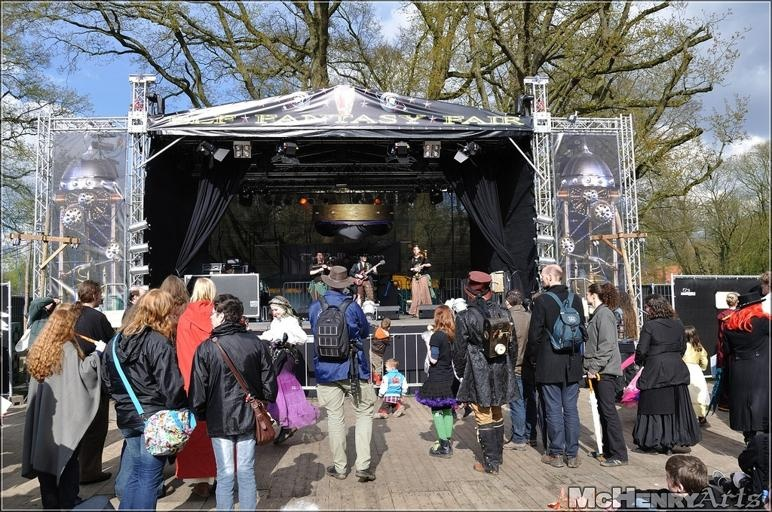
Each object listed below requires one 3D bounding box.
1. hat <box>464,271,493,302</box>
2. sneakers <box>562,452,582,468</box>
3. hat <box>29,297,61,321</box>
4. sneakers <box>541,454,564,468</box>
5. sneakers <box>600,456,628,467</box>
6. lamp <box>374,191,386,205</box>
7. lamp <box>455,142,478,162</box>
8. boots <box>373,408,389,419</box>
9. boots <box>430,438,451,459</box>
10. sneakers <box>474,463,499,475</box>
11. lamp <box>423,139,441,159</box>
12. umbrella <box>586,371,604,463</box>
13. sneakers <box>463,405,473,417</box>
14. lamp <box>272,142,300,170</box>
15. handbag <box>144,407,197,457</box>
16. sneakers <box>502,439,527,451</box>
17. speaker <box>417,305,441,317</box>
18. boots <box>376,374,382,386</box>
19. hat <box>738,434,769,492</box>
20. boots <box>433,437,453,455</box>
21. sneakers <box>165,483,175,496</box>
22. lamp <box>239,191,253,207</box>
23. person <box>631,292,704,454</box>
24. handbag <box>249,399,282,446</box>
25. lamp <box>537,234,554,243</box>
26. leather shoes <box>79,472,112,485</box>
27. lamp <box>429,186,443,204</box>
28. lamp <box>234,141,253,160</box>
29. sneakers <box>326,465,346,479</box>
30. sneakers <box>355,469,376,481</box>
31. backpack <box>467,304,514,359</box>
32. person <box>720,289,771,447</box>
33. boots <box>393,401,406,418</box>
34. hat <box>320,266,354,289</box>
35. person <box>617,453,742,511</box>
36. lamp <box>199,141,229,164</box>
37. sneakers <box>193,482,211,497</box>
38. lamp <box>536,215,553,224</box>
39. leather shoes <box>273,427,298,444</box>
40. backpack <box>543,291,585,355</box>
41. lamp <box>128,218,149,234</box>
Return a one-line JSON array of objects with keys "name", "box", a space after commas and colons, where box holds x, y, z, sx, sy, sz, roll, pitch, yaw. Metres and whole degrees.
[{"name": "hat", "box": [1.438, 0.417, 11.225, 0.375, 0.237, 0.443, 8, 24, 14]}, {"name": "sneakers", "box": [2.838, 3.114, 11.138, 0.270, 0.171, 0.254, 0, 14, 9]}, {"name": "hat", "box": [-5.216, 0.846, 11.039, 0.398, 0.381, 0.467, -10, 16, -29]}, {"name": "sneakers", "box": [2.543, 3.128, 11.240, 0.136, 0.167, 0.348, 1, 3, -40]}, {"name": "sneakers", "box": [3.451, 3.151, 11.127, 0.421, 0.190, 0.160, -3, -3, 6]}, {"name": "lamp", "box": [-0.185, -1.872, 23.446, 0.460, 0.445, 0.113, 0, 2, -35]}, {"name": "lamp", "box": [1.790, -2.359, 16.686, 0.336, 0.217, 0.549, 36, -11, -10]}, {"name": "boots", "box": [-0.129, 2.893, 13.406, 0.160, 0.153, 0.344, 5, -4, -43]}, {"name": "boots", "box": [0.865, 3.042, 11.528, 0.360, 0.255, 0.180, -1, -6, 26]}, {"name": "sneakers", "box": [1.493, 3.177, 10.939, 0.329, 0.152, 0.133, 5, -3, 40]}, {"name": "lamp", "box": [1.017, -2.425, 16.474, 0.370, 0.391, 0.332, 0, 14, 9]}, {"name": "umbrella", "box": [3.333, 2.519, 11.478, 0.260, 1.313, 0.276, -6, -2, -7]}, {"name": "sneakers", "box": [1.455, 2.798, 13.144, 0.147, 0.184, 0.427, -2, -17, 5]}, {"name": "lamp", "box": [-2.257, -2.304, 16.463, 0.508, 0.261, 0.707, 2, -6, -20]}, {"name": "handbag", "box": [-2.914, 2.223, 9.584, 0.375, 0.729, 0.516, 0, 9, 11]}, {"name": "sneakers", "box": [2.061, 3.020, 11.711, 0.328, 0.166, 0.146, 3, -3, 15]}, {"name": "speaker", "box": [0.929, 1.303, 17.010, 0.446, 0.327, 0.276, 0, -5, -3]}, {"name": "boots", "box": [-0.165, 2.368, 13.985, 0.120, 0.180, 0.063, -2, -11, 12]}, {"name": "hat", "box": [5.016, 2.789, 9.931, 0.375, 0.833, 0.289, 5, 16, 28]}, {"name": "boots", "box": [0.864, 3.040, 11.613, 0.340, 0.230, 0.166, -2, -5, 37]}, {"name": "sneakers", "box": [-3.171, 3.401, 10.679, 0.133, 0.059, 0.312, -4, 14, -9]}, {"name": "lamp", "box": [-4.268, -1.729, 22.114, 0.408, 0.432, 0.320, -2, 3, -8]}, {"name": "person", "box": [4.435, 1.856, 11.665, 1.020, 2.407, 0.845, 0, -4, 8]}, {"name": "handbag", "box": [-1.639, 2.187, 9.653, 0.280, 0.626, 0.247, -7, 15, -20]}, {"name": "lamp", "box": [3.444, -0.378, 15.877, 0.264, 0.129, 0.181, 1, -2, 5]}, {"name": "leather shoes", "box": [-4.331, 3.263, 10.831, 0.432, 0.192, 0.145, 0, 1, -34]}, {"name": "lamp", "box": [1.487, -1.842, 21.972, 0.463, 0.673, 0.366, 2, -1, 9]}, {"name": "lamp", "box": [-3.254, -2.386, 16.342, 0.338, 0.360, 0.087, 1, 8, -11]}, {"name": "sneakers", "box": [-0.768, 3.233, 10.923, 0.138, 0.167, 0.323, 4, 3, -42]}, {"name": "sneakers", "box": [-0.312, 3.225, 10.751, 0.333, 0.172, 0.124, 7, -8, -35]}, {"name": "backpack", "box": [1.580, 1.135, 10.942, 0.674, 0.756, 0.463, -3, 14, -5]}, {"name": "person", "box": [5.360, 1.616, 10.824, 0.589, 1.912, 0.716, 1, 14, 12]}, {"name": "boots", "box": [0.215, 2.848, 13.520, 0.179, 0.216, 0.463, 2, -19, -5]}, {"name": "hat", "box": [-0.716, 0.318, 11.089, 0.340, 0.404, 0.376, -5, 14, -12]}, {"name": "person", "box": [3.824, 2.997, 9.651, 0.946, 0.503, 1.249, 9, -16, -43]}, {"name": "lamp", "box": [-3.847, -2.324, 16.171, 0.535, 0.449, 0.246, 18, 8, -1]}, {"name": "sneakers", "box": [-2.668, 3.342, 10.534, 0.273, 0.221, 0.234, -6, 14, -15]}, {"name": "lamp", "box": [3.436, -0.800, 15.907, 0.265, 0.112, 0.197, 3, 0, 3]}, {"name": "leather shoes", "box": [-1.648, 2.936, 12.064, 0.456, 0.182, 0.153, -14, -13, -44]}, {"name": "backpack", "box": [2.748, 1.026, 11.120, 0.562, 0.894, 0.396, -4, 14, -6]}, {"name": "lamp", "box": [-5.246, -0.636, 15.365, 0.380, 0.265, 0.302, -9, 16, -26]}]
